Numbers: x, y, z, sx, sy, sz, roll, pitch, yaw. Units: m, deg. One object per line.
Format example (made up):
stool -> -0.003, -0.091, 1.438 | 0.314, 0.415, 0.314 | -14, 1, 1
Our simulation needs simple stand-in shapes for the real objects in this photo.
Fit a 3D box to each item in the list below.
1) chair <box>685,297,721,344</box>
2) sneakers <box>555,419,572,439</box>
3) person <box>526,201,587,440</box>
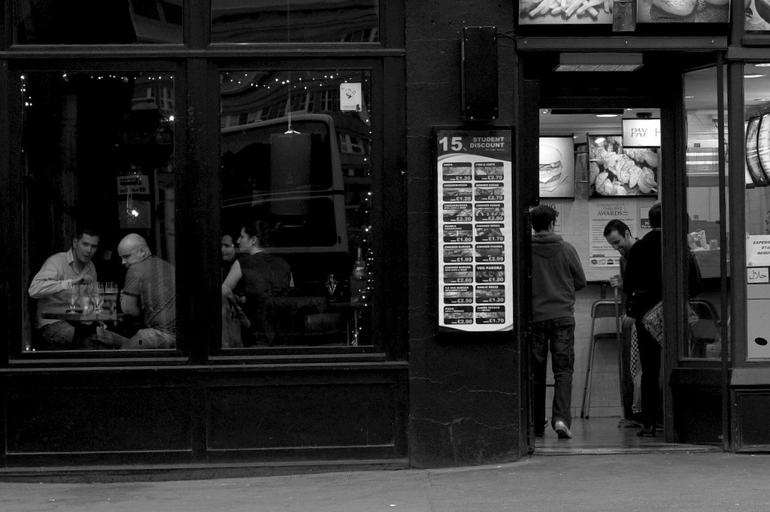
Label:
chair -> 3.305, 0.672, 12.974 | 0.336, 0.400, 0.368 | 3, 6, 21
sneakers -> 1.917, 1.862, 13.478 | 0.122, 0.125, 0.320 | -7, -36, 18
person -> 1.878, 0.702, 13.604 | 0.588, 2.494, 0.448 | -2, -3, 8
